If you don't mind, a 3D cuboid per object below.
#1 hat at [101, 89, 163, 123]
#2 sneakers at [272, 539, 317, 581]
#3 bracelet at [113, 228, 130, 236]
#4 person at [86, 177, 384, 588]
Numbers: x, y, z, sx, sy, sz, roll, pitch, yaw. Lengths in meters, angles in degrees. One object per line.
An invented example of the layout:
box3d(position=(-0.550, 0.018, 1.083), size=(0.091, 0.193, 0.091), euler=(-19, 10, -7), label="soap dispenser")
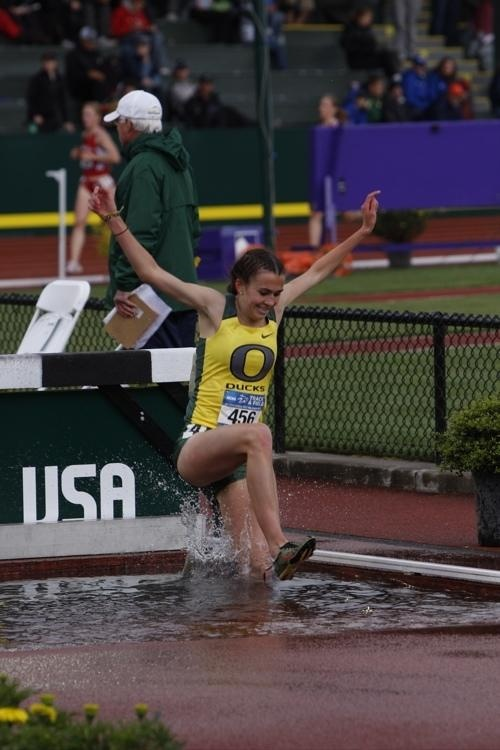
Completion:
box3d(position=(-0.606, -1.390, 5.471), size=(0.270, 0.129, 0.190), euler=(11, 24, 21), label="hat")
box3d(position=(0.152, 0.664, 3.842), size=(0.138, 0.184, 0.277), euler=(-1, 2, -3), label="sneakers")
box3d(position=(-0.501, -0.554, 4.143), size=(0.054, 0.032, 0.049), euler=(-10, 8, -10), label="bracelet")
box3d(position=(-0.093, 0.054, 4.339), size=(0.874, 1.594, 1.046), euler=(0, 2, 15), label="person")
